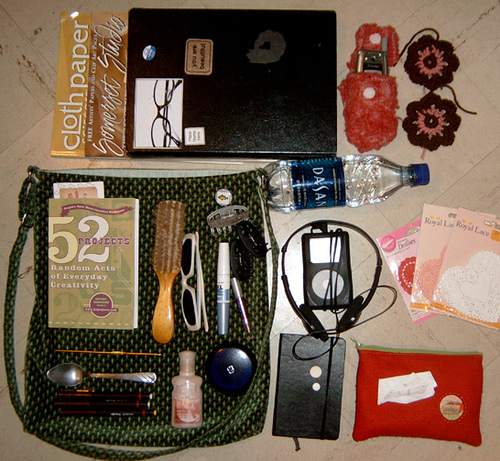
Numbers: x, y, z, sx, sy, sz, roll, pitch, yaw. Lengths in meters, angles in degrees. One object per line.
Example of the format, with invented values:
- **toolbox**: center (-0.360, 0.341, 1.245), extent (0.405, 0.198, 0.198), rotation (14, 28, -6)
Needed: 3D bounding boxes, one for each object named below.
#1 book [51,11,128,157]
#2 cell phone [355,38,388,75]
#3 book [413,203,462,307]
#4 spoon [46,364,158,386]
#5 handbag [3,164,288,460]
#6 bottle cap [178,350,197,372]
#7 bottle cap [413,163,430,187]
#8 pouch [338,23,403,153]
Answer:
- **book**: center (-0.448, -0.404, 1.542), extent (0.212, 0.041, 0.428), rotation (2, 91, 2)
- **cell phone**: center (0.330, -0.452, 1.436), extent (0.088, 0.033, 0.070), rotation (4, 79, 0)
- **book**: center (0.523, 0.067, 1.446), extent (0.126, 0.004, 0.371), rotation (2, 51, 24)
- **spoon**: center (-0.377, 0.370, 1.363), extent (0.255, 0.035, 0.064), rotation (3, 84, -1)
- **handbag**: center (-0.289, 0.205, 1.397), extent (0.702, 0.214, 0.755), rotation (4, 79, 0)
- **bottle cap**: center (-0.158, 0.325, 1.320), extent (0.042, 0.043, 0.052), rotation (3, 83, -31)
- **bottle cap**: center (0.457, -0.150, 1.411), extent (0.040, 0.057, 0.086), rotation (-2, 94, 15)
- **pouch**: center (0.336, -0.396, 1.456), extent (0.179, 0.122, 0.349), rotation (0, 79, -1)
